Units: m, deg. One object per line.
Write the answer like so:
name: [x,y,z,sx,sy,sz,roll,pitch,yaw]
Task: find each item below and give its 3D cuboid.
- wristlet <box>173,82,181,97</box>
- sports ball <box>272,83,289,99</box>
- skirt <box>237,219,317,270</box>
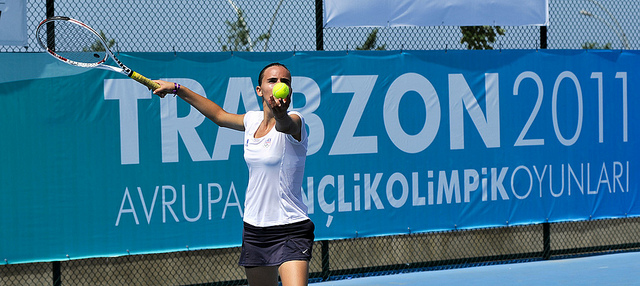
wristlet: [-2.458,-0.916,11.785,0.083,0.195,0.149,10,-9,-4]
sports ball: [-0.645,-0.832,11.160,0.190,0.179,0.185,13,-25,6]
skirt: [-0.693,1.633,11.547,1.478,0.777,0.810,-1,2,28]
